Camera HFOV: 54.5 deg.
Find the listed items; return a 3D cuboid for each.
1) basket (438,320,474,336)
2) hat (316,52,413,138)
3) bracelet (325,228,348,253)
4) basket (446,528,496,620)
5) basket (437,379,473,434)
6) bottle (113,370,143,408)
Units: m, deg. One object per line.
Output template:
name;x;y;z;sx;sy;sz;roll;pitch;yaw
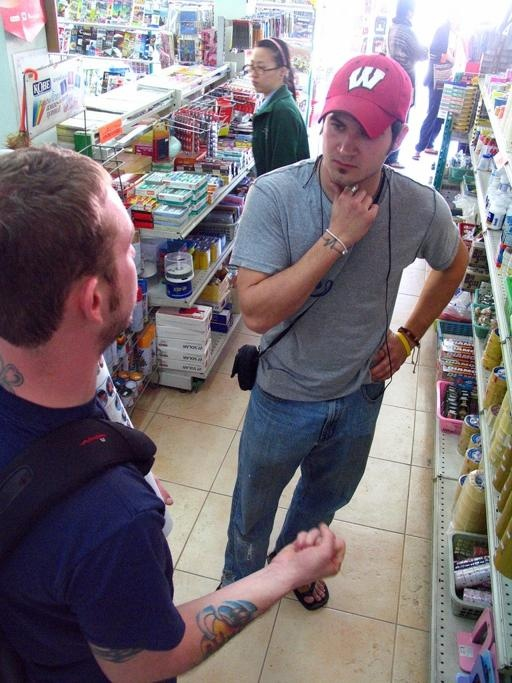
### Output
basket;1.581;-0.102;3.920;0.193;0.076;0.130;3;19;12
hat;0.327;-0.709;1.433;0.246;0.195;0.362;20;29;12
bracelet;0.221;-0.267;1.369;0.023;0.063;0.054;-45;39;0
basket;0.971;1.048;2.244;0.242;0.120;0.344;3;55;16
basket;1.325;0.413;3.358;0.218;0.110;0.334;8;41;9
bottle;-0.809;0.317;3.138;0.144;0.095;0.242;6;33;-11
